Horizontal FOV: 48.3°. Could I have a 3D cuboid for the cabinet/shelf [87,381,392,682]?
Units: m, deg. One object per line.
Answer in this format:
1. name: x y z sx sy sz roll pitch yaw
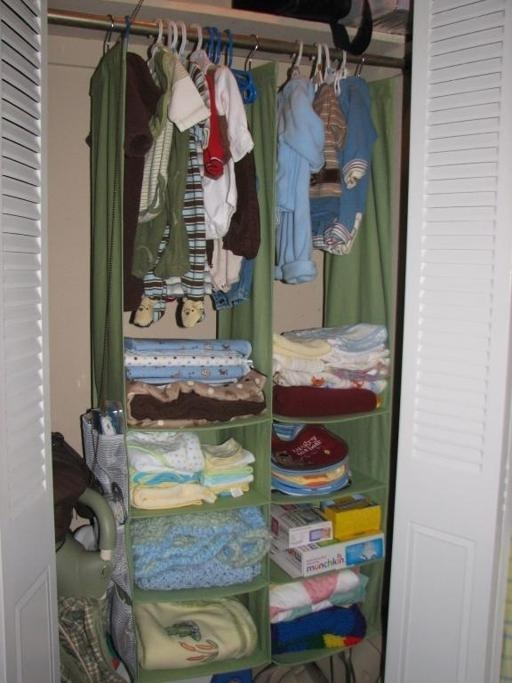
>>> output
1. cabinet/shelf: -0.075 0.618 1.873 1.040 1.078 0.411 -1 -4 -18
